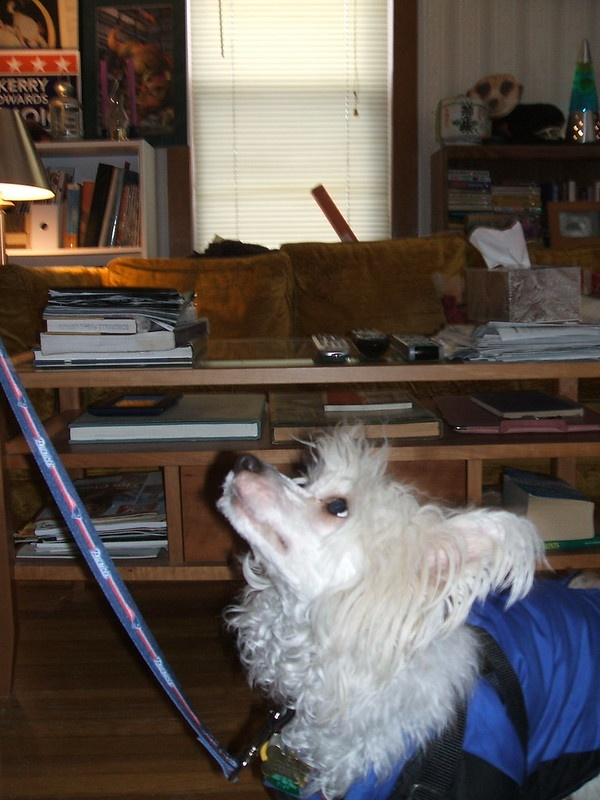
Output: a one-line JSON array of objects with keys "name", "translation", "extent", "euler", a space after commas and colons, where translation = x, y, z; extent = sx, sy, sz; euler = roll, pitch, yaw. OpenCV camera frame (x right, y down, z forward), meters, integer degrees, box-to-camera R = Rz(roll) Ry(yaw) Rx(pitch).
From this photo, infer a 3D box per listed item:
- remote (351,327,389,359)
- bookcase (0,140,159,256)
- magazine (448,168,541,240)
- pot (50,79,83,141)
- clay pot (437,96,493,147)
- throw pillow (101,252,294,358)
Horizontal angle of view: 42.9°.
[{"name": "remote", "translation": [0.145, -0.122, 1.596], "extent": [0.058, 0.022, 0.075], "euler": [9, 16, -27]}, {"name": "bookcase", "translation": [-0.967, -0.873, 3.343], "extent": [0.849, 0.656, 0.303], "euler": [-1, 7, -5]}, {"name": "magazine", "translation": [0.966, -1.004, 3.652], "extent": [0.456, 0.367, 0.227], "euler": [10, 59, 15]}, {"name": "pot", "translation": [-1.078, -1.345, 3.531], "extent": [0.149, 0.320, 0.332], "euler": [-2, 11, -15]}, {"name": "clay pot", "translation": [0.726, -1.279, 3.536], "extent": [0.273, 0.224, 0.234], "euler": [-3, 14, 5]}, {"name": "throw pillow", "translation": [-0.284, -0.261, 2.378], "extent": [0.422, 0.242, 0.387], "euler": [0, 2, -2]}]
